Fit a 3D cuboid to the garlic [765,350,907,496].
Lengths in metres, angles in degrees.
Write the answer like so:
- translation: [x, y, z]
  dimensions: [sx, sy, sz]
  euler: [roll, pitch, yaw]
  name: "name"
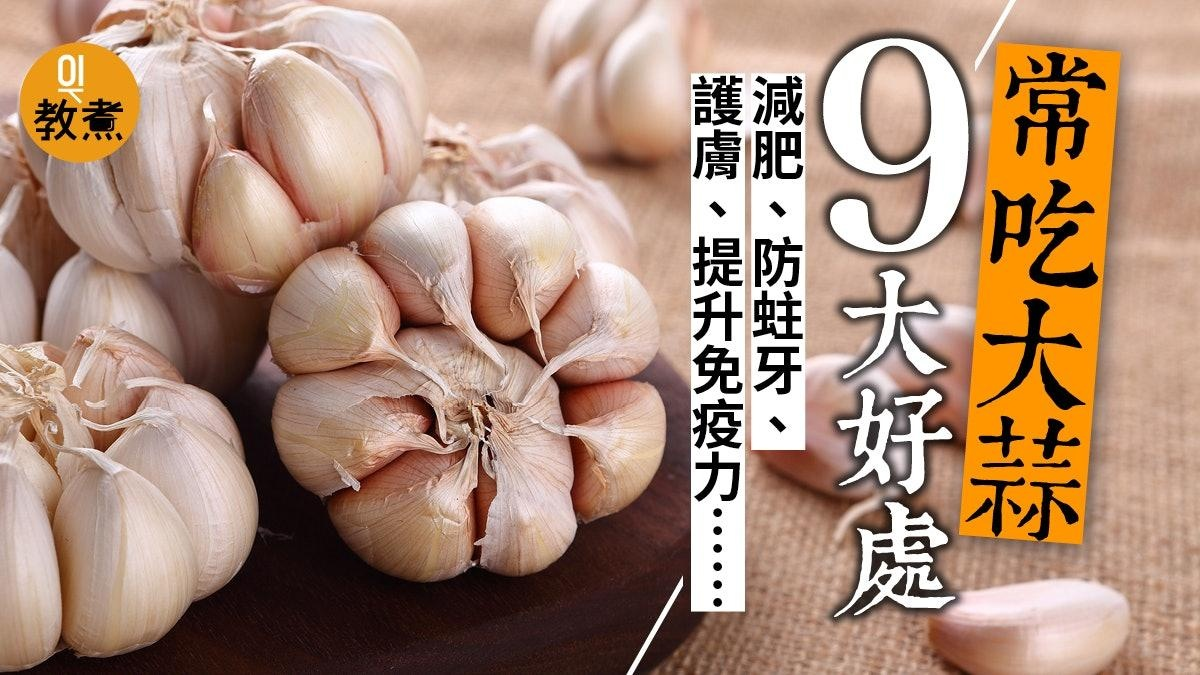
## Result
- translation: [0.303, 0.127, 1.331]
  dimensions: [0.166, 0.188, 0.111]
  euler: [8, -9, 4]
  name: "garlic"
